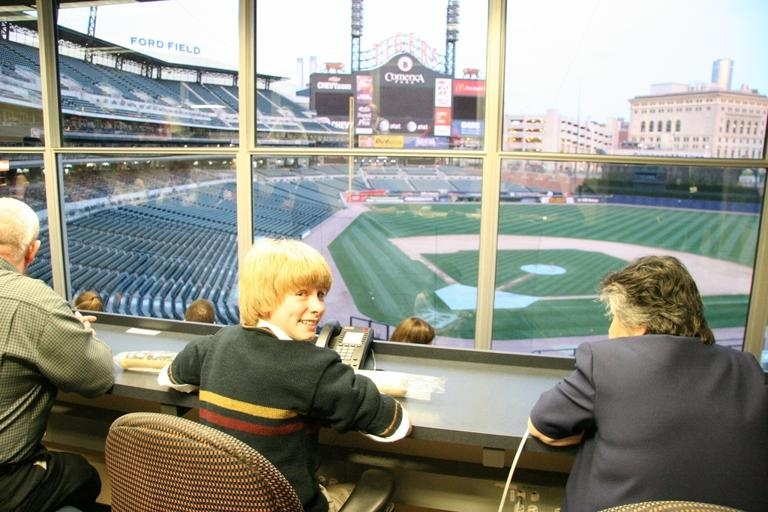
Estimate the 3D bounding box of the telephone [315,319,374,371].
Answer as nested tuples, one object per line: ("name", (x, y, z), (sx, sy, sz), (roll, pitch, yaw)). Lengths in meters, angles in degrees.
("telephone", (-0.168, 0.376, 2.384), (0.223, 0.087, 0.266), (13, 24, 14))
